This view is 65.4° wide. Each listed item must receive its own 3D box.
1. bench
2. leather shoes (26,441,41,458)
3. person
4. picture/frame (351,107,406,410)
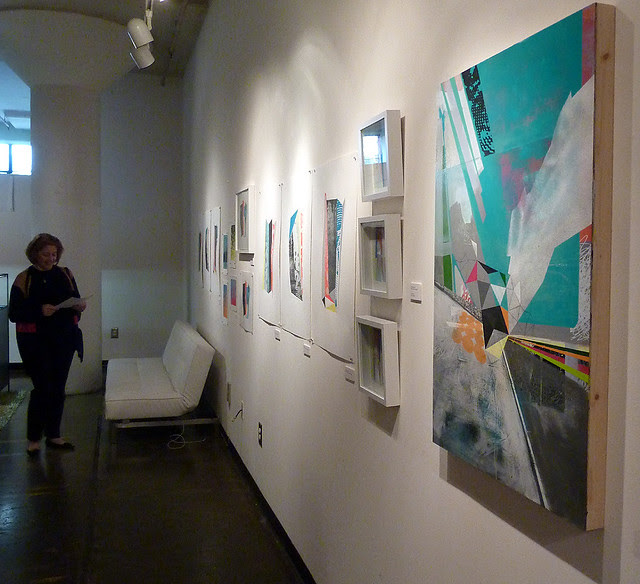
[{"bbox_3d":[-1.889,1.010,5.702,1.202,1.085,1.869,1,2,-26],"label":"bench"},{"bbox_3d":[-2.656,1.450,4.597,0.060,0.096,0.200,4,-8,-25],"label":"leather shoes"},{"bbox_3d":[-2.503,0.493,4.568,0.607,2.021,0.446,1,1,-31],"label":"person"},{"bbox_3d":[0.217,-0.112,1.914,0.123,0.826,0.342,1,1,-15],"label":"picture/frame"}]
